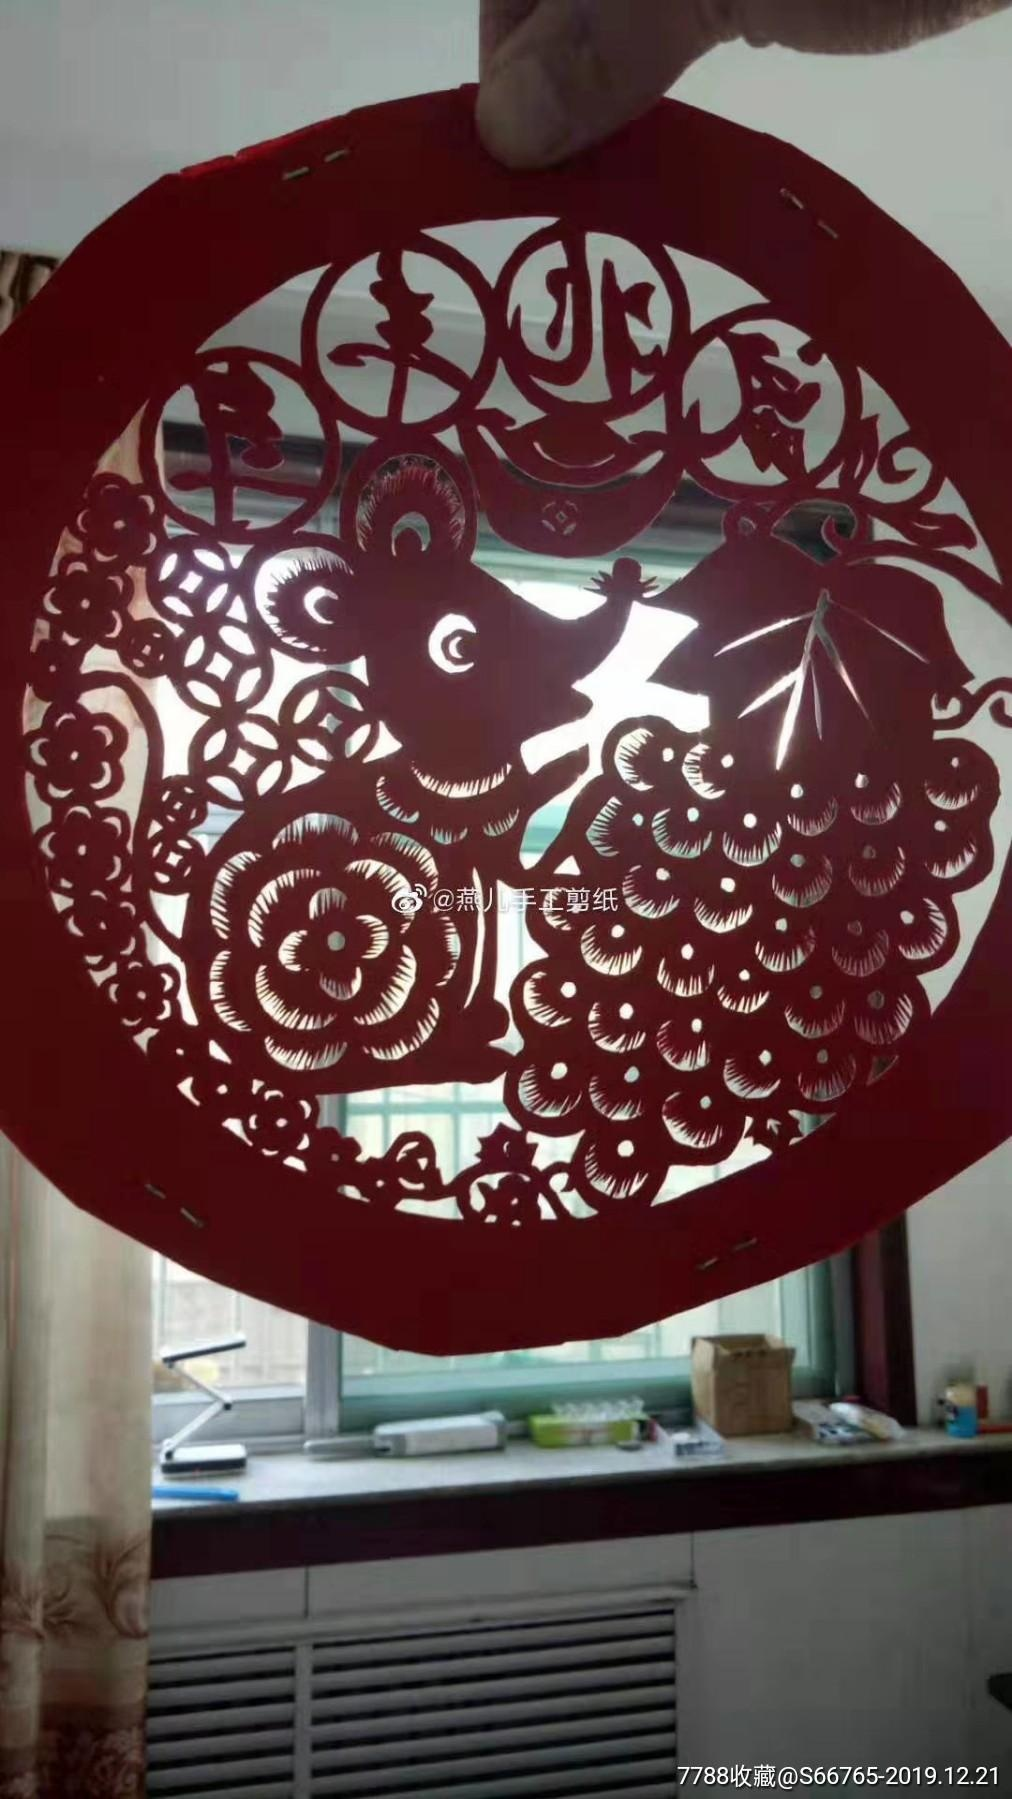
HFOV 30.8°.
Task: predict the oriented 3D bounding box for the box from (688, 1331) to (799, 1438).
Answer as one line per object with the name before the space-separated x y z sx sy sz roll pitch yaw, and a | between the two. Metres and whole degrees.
box | 0.258 0.517 1.956 0.096 0.087 0.095 0 -9 -3
